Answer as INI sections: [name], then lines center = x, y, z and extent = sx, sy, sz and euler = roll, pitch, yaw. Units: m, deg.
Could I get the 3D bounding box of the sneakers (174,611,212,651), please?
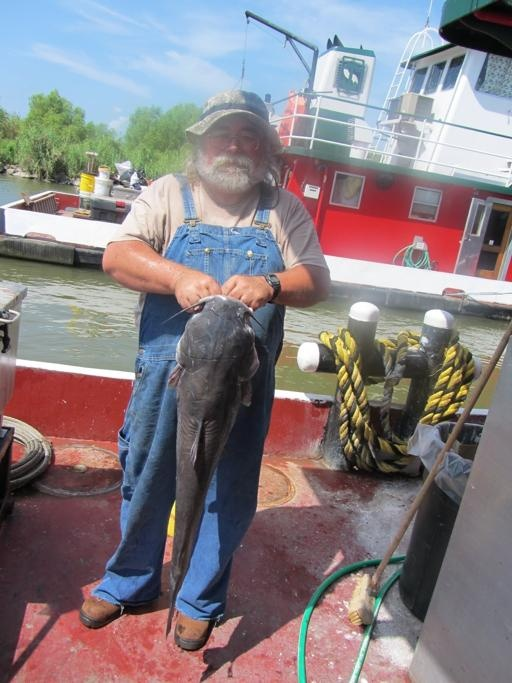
[sneakers]
center = -0.242, 1.130, 2.036
extent = 0.081, 0.064, 0.166
euler = 16, 45, 13

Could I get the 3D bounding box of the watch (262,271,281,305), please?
[watch]
center = 0.046, -0.169, 1.722
extent = 0.060, 0.086, 0.066
euler = -6, 27, -36

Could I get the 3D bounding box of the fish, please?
[fish]
center = -0.170, 0.432, 1.706
extent = 0.283, 1.114, 0.305
euler = 12, 19, 2

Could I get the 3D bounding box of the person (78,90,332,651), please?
[person]
center = -0.228, 0.147, 1.944
extent = 0.914, 2.085, 0.723
euler = 8, 2, -6

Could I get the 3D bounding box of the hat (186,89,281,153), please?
[hat]
center = -0.067, -0.821, 1.907
extent = 0.281, 0.139, 0.240
euler = 10, 2, 33
